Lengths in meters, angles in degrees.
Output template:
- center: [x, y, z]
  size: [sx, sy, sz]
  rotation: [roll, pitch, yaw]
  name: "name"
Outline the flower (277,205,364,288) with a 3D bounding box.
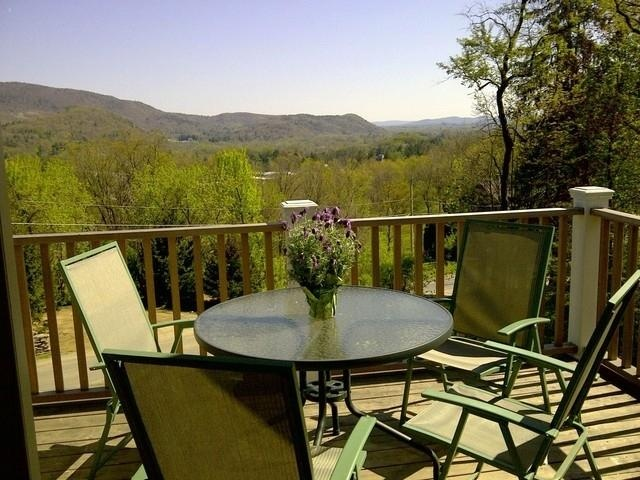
- center: [-0.008, 0.037, 2.614]
  size: [0.389, 0.449, 0.402]
  rotation: [-5, 11, -34]
  name: "flower"
